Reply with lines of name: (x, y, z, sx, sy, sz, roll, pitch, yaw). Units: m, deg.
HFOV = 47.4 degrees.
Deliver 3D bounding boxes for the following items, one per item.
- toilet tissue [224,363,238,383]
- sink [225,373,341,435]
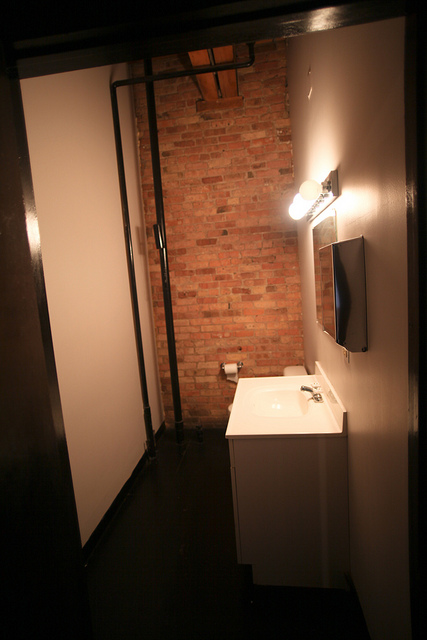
toilet tissue: (0.122, 0.358, 3.342, 0.105, 0.162, 0.055, -3, 14, 3)
sink: (0.283, 0.365, 2.067, 0.398, 0.120, 0.760, -4, 8, 7)
